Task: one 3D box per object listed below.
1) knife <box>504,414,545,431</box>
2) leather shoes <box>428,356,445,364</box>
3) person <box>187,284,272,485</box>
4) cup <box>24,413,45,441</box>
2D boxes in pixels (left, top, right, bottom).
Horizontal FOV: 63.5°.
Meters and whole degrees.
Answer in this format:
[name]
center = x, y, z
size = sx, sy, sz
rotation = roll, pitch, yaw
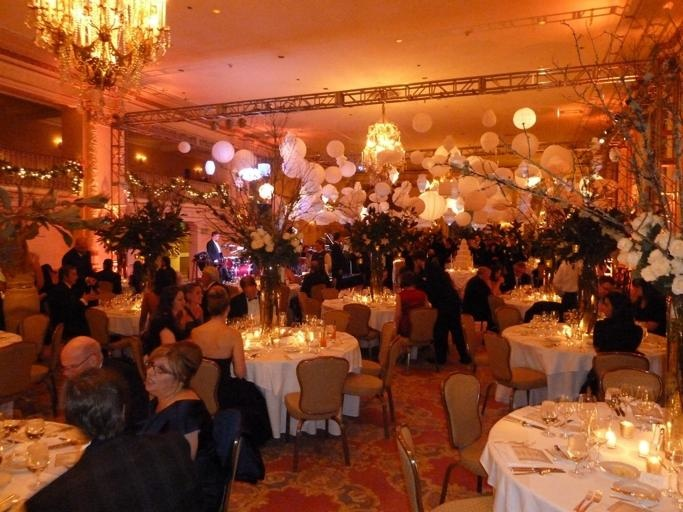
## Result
[knife]
center = 1.436, 1.301, 4.400
size = 0.083, 0.051, 0.482
rotation = -15, 3, -22
[leather shoes]
center = 1.609, 1.745, 9.264
size = 0.173, 0.145, 0.261
rotation = 3, 3, -6
[person]
center = -1.405, 1.190, 6.253
size = 0.749, 2.005, 1.020
rotation = 7, 20, -3
[cup]
center = -2.145, 1.186, 3.845
size = 0.139, 0.217, 0.137
rotation = -1, -4, 0
